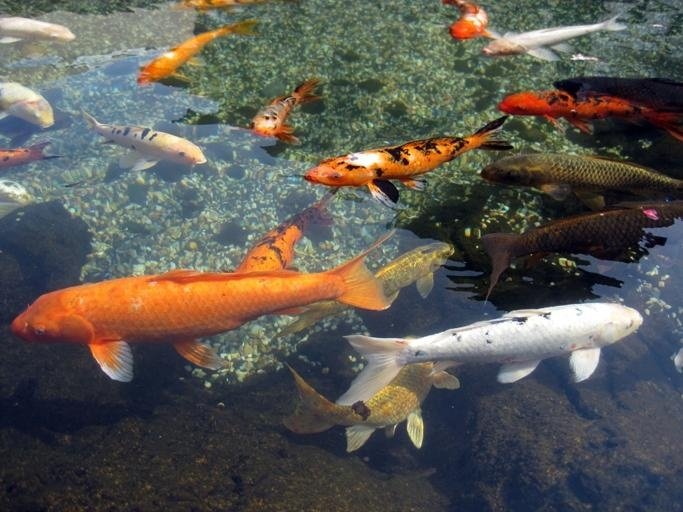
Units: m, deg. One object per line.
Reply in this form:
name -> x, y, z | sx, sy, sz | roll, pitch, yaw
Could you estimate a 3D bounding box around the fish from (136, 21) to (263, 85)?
fish -> -2.302, -3.422, 12.534 | 1.685, 0.686, 0.386 | -34, 90, -20
